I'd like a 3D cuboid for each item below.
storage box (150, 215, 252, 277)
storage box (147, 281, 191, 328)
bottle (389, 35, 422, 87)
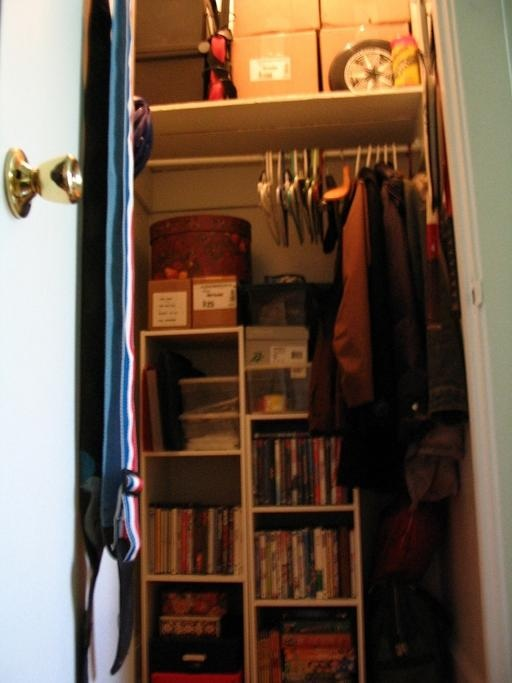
[{"bbox_3d":[-0.192,-0.316,2.641,0.196,0.202,0.249,0,1,14],"label":"storage box"},{"bbox_3d":[-0.300,-0.128,2.565,0.114,0.188,0.143,0,2,1],"label":"storage box"},{"bbox_3d":[0.506,-0.926,2.491,0.063,0.178,0.080,-1,-10,-8],"label":"bottle"}]
